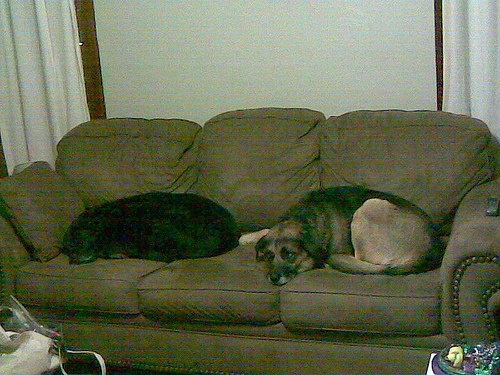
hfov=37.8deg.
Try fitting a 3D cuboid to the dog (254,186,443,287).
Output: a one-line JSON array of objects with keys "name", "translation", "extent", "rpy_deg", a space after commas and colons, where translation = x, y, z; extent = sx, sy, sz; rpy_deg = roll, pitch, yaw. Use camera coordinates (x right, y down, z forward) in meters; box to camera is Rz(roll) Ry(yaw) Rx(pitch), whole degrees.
[{"name": "dog", "translation": [0.490, 0.234, 3.505], "extent": [0.802, 0.199, 0.487], "rpy_deg": [-4, 11, 16]}]

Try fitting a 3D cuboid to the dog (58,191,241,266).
[{"name": "dog", "translation": [-0.505, 0.202, 3.702], "extent": [0.836, 0.201, 0.346], "rpy_deg": [0, -21, 1]}]
